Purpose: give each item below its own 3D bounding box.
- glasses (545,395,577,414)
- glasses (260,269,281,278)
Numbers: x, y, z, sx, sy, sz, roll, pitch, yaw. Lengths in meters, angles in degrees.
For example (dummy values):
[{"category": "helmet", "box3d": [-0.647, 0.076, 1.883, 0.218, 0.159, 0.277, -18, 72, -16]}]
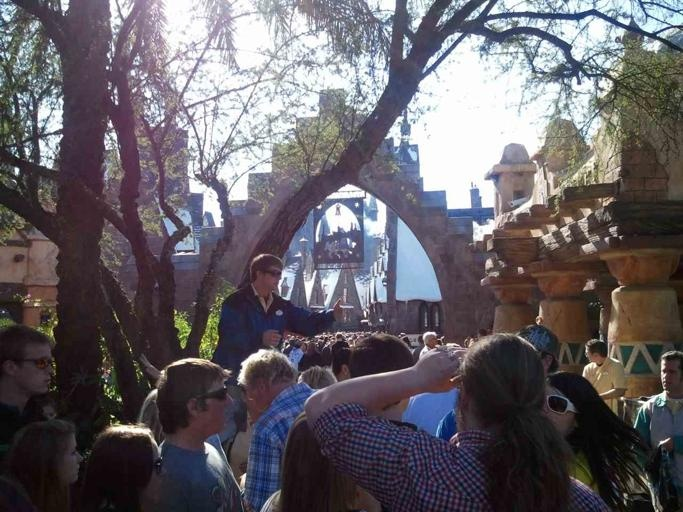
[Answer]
[{"category": "glasses", "box3d": [1.255, 0.851, 3.666, 0.140, 0.063, 0.123, 16, -8, -9]}, {"category": "glasses", "box3d": [-0.583, 0.159, 5.664, 0.095, 0.079, 0.224, -8, -11, 39]}]
